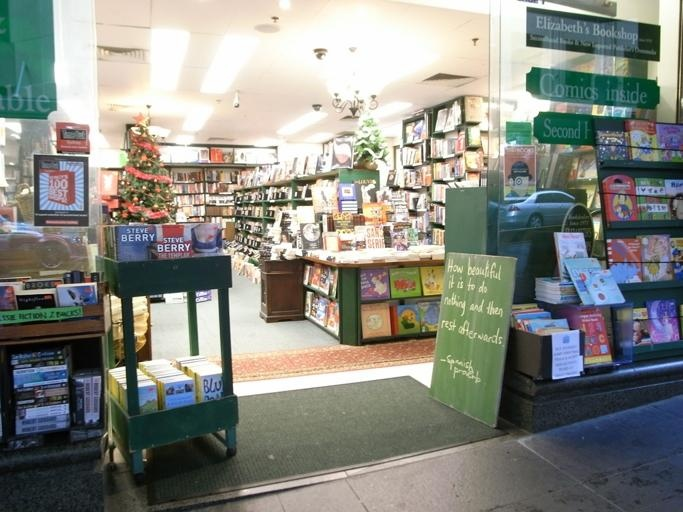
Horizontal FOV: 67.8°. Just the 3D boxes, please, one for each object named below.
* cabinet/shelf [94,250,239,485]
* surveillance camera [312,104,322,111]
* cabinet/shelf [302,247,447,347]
[{"bbox_3d":[-1.155,0.552,3.803,1.142,1.928,1.150,-3,6,-24],"label":"cabinet/shelf"},{"bbox_3d":[-0.493,-2.949,10.053,0.125,0.082,0.126,-1,-1,-3],"label":"surveillance camera"},{"bbox_3d":[0.464,0.388,5.707,1.150,0.619,1.171,-3,6,-19],"label":"cabinet/shelf"}]
